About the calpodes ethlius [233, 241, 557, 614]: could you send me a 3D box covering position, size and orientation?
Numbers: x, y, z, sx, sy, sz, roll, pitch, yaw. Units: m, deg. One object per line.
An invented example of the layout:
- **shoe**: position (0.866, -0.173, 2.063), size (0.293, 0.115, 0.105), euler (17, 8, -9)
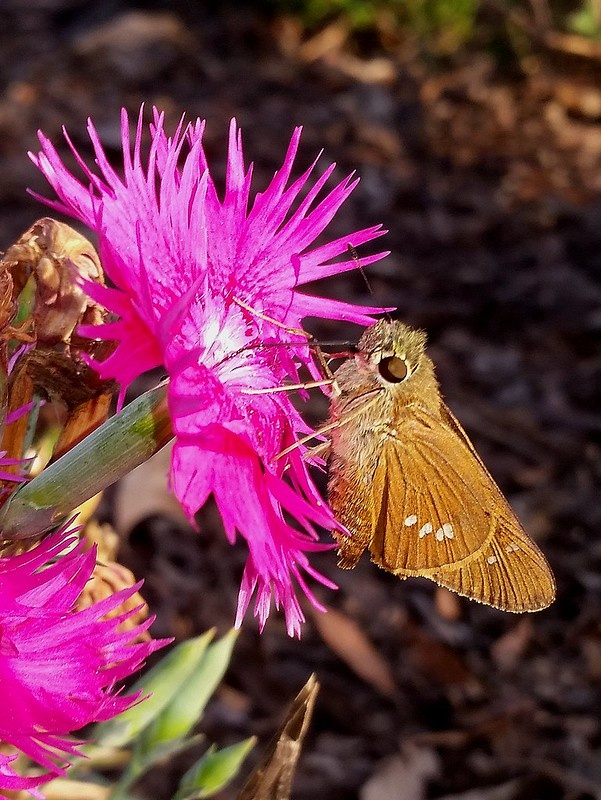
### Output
- **calpodes ethlius**: position (0.176, 0.044, 1.085), size (0.264, 0.390, 0.399), euler (-28, 19, -27)
